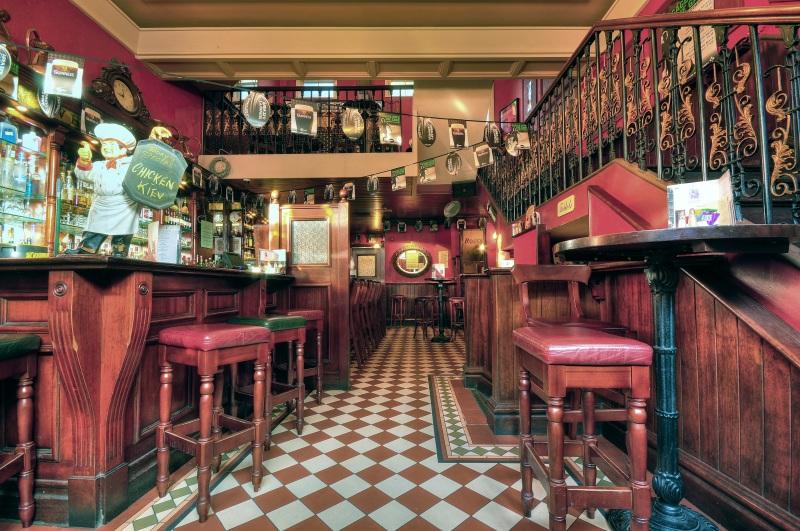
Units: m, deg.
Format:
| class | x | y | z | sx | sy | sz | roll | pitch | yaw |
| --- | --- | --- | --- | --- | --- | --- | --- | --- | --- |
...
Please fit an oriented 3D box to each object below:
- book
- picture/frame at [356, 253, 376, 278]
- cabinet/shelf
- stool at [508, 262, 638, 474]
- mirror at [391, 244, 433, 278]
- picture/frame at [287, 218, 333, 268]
| class | x | y | z | sx | sy | sz | roll | pitch | yaw |
| --- | --- | --- | --- | --- | --- | --- | --- | --- | --- |
| book | 2.269 | -0.431 | 4.572 | 0.530 | 0.512 | 0.399 | -4 | -4 | 19 |
| picture/frame | -0.790 | 0.025 | 13.986 | 0.588 | 0.633 | 0.087 | -1 | -2 | 2 |
| cabinet/shelf | -3.156 | -1.301 | 6.957 | 1.949 | 2.967 | 3.130 | 2 | 1 | -1 |
| stool | 1.471 | 0.438 | 5.196 | 0.827 | 1.155 | 0.842 | -1 | -4 | -8 |
| mirror | 0.313 | -0.070 | 13.748 | 0.719 | 0.686 | 0.100 | 5 | -10 | -3 |
| picture/frame | -1.069 | -0.243 | 6.936 | 0.588 | 0.671 | 0.048 | -1 | -1 | 1 |
